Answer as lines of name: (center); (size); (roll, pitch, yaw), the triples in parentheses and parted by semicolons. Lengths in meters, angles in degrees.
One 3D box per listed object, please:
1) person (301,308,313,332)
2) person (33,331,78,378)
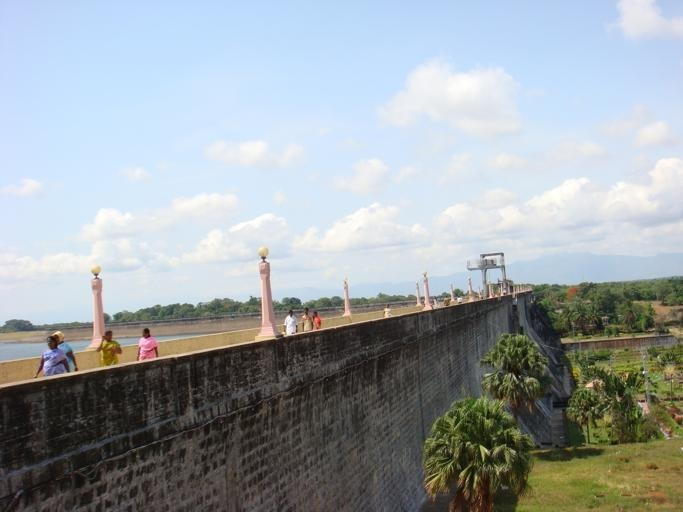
person: (-1.298, 2.428, 19.463); (0.357, 0.841, 1.555); (-6, -6, -4)
person: (-5.337, 1.862, 9.735); (0.557, 0.820, 1.457); (-4, -7, -30)
